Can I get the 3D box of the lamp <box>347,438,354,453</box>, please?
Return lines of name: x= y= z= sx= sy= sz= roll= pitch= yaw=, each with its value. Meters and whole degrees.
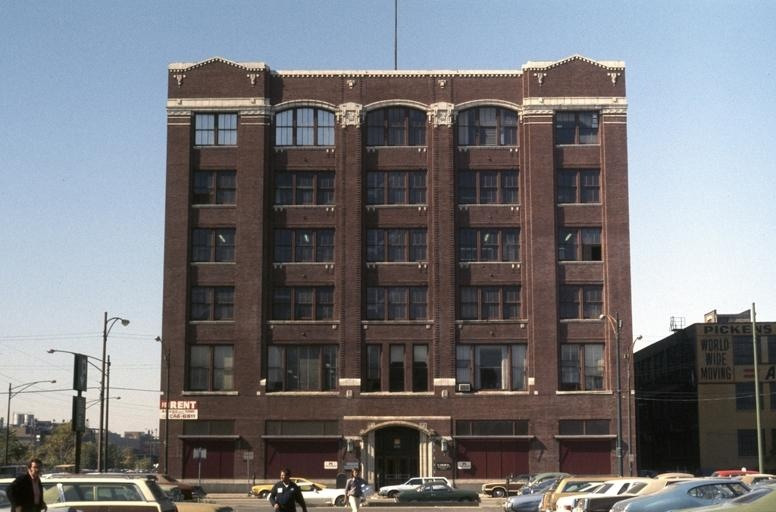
lamp: x=-3.839 y=19.715 z=172.383 sx=0.735 sy=1.375 sz=0.350 roll=-3 pitch=-13 yaw=-2

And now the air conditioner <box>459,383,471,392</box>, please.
air conditioner: x=7.896 y=13.626 z=173.230 sx=1.360 sy=0.949 sz=0.757 roll=1 pitch=-25 yaw=1

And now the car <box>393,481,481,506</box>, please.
car: x=4.784 y=23.352 z=161.287 sx=6.115 sy=1.975 sz=2.978 roll=0 pitch=-6 yaw=-2
